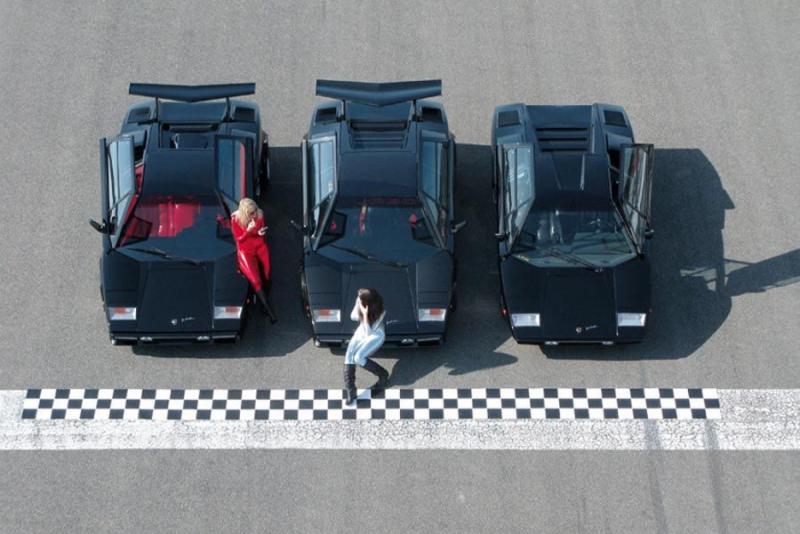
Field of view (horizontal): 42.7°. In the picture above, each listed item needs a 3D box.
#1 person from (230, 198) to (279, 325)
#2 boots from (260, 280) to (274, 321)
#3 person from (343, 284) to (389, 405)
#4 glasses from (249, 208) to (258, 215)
[{"bbox_3d":[-2.302,-0.126,15.934,0.531,1.889,0.787,-13,4,-11],"label":"person"},{"bbox_3d":[-2.127,0.605,16.131,0.155,0.795,0.211,-2,15,14],"label":"boots"},{"bbox_3d":[-0.531,1.128,15.557,0.664,1.731,0.527,-10,58,-12],"label":"person"},{"bbox_3d":[-2.237,-0.865,15.665,0.036,0.099,0.181,11,19,42],"label":"glasses"}]
